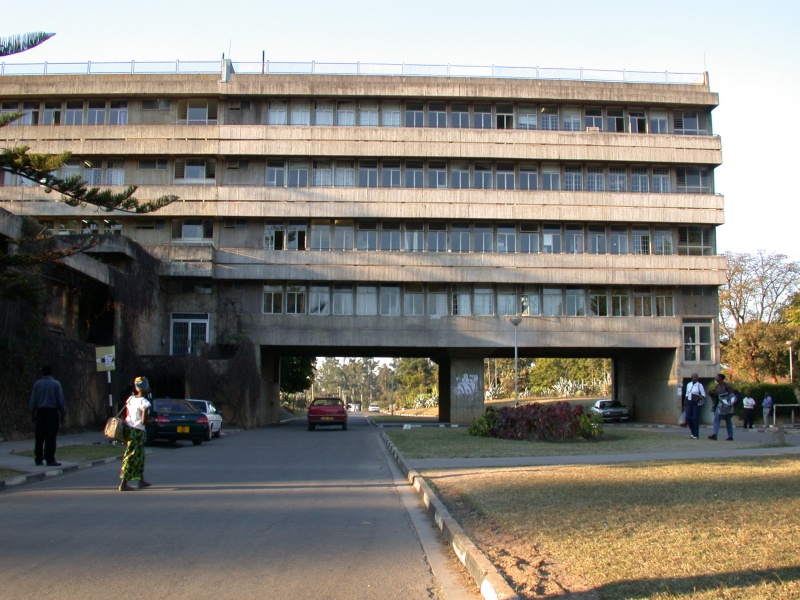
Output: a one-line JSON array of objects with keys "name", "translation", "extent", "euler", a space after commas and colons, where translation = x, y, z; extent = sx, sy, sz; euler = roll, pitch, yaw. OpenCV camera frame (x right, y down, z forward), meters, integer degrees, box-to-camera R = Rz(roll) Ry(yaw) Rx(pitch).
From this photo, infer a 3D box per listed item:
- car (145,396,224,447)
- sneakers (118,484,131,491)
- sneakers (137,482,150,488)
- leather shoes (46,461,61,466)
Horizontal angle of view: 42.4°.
[{"name": "car", "translation": [-7.689, 4.216, 36.015], "extent": [2.073, 1.568, 3.774], "euler": [2, -7, -9]}, {"name": "sneakers", "translation": [-6.416, 4.312, 24.035], "extent": [0.248, 0.157, 0.261], "euler": [3, -7, -17]}, {"name": "sneakers", "translation": [-6.047, 4.330, 24.333], "extent": [0.096, 0.216, 0.280], "euler": [2, 1, 27]}, {"name": "leather shoes", "translation": [-9.212, 4.295, 27.342], "extent": [0.305, 0.149, 0.107], "euler": [-4, -6, 3]}]
